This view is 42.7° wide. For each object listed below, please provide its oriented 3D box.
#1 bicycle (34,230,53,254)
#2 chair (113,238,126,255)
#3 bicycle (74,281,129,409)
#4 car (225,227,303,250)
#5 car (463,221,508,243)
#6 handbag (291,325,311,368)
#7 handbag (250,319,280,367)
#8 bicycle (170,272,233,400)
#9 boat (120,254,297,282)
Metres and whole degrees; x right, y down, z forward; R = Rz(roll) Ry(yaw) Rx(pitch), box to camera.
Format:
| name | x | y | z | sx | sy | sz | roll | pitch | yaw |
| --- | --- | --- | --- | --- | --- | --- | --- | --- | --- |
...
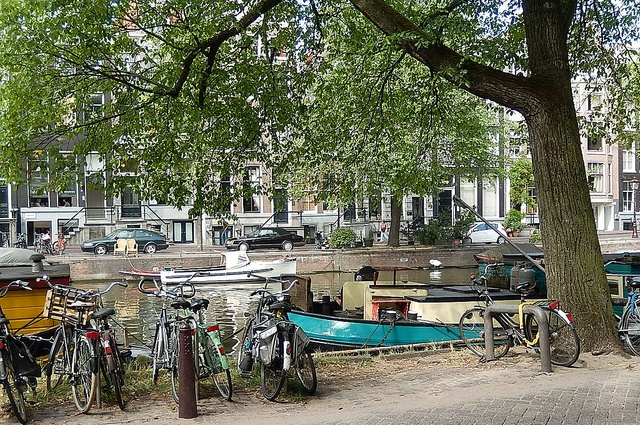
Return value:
| name | x | y | z | sx | sy | sz | roll | pitch | yaw |
| --- | --- | --- | --- | --- | --- | --- | --- | --- | --- |
| bicycle | -11.925 | 1.295 | 35.179 | 0.866 | 0.866 | 1.330 | 3 | 3 | -37 |
| chair | -8.498 | 1.465 | 34.721 | 0.638 | 0.861 | 0.563 | 1 | -4 | -5 |
| bicycle | -3.640 | 2.230 | 13.582 | 0.805 | 2.067 | 1.109 | -4 | -4 | -17 |
| car | -2.489 | 1.285 | 37.645 | 3.260 | 0.965 | 1.341 | 2 | -3 | -10 |
| car | 7.494 | 0.923 | 37.758 | 1.687 | 0.725 | 0.997 | 3 | -3 | -17 |
| handbag | -0.342 | 2.227 | 13.717 | 0.299 | 0.672 | 0.176 | -5 | -3 | -4 |
| handbag | -0.912 | 2.230 | 13.752 | 0.302 | 0.614 | 0.490 | 6 | -11 | -24 |
| bicycle | -1.910 | 2.329 | 13.860 | 0.727 | 1.771 | 0.693 | -5 | -3 | -9 |
| boat | -4.360 | 2.108 | 30.839 | 5.244 | 1.077 | 1.167 | -2 | 1 | -10 |
